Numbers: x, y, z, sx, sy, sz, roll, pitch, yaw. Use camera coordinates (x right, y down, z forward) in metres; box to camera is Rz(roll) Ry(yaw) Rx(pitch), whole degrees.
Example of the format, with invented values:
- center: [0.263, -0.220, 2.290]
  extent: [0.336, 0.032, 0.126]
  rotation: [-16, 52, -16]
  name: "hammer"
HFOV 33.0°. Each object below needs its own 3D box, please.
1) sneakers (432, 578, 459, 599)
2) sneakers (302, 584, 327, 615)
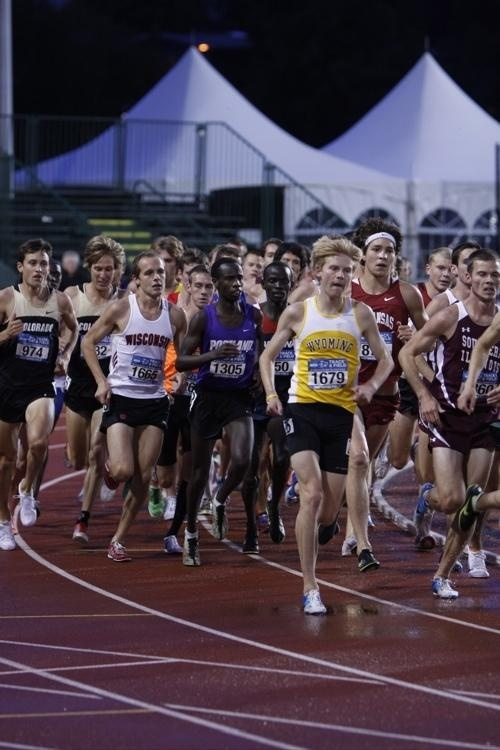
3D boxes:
- center: [1.020, 1.122, 4.403]
  extent: [0.066, 0.079, 0.176]
  rotation: [4, -12, -14]
  name: "sneakers"
- center: [0.314, 1.089, 4.053]
  extent: [0.119, 0.143, 0.213]
  rotation: [5, 7, 5]
  name: "sneakers"
